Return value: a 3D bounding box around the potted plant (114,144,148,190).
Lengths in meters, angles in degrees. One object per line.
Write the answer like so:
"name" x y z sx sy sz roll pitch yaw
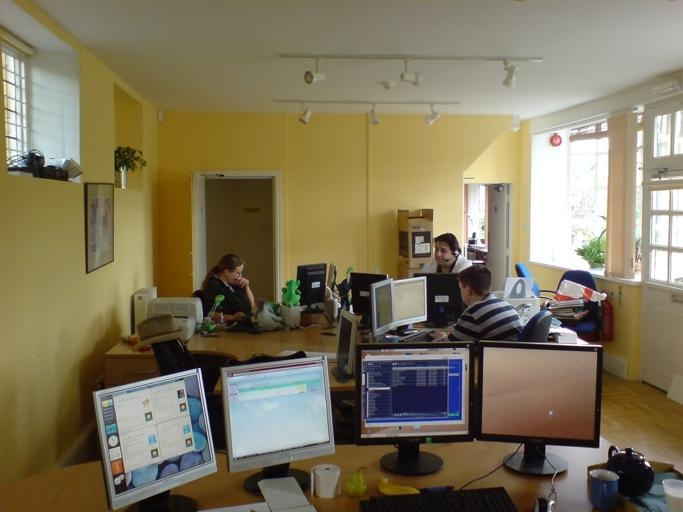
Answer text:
"potted plant" -2.409 -0.970 6.184 0.430 0.476 0.440 1 -7 -26

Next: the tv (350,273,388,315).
"tv" 0.241 0.331 4.842 0.104 0.340 0.320 -5 8 -31

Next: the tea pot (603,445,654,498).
"tea pot" 1.452 1.095 2.860 0.173 0.187 0.241 0 -2 1

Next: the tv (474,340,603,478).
"tv" 1.047 0.784 3.017 0.611 0.683 0.323 1 7 13

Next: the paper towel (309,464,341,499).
"paper towel" -0.068 1.140 2.830 0.138 0.122 0.143 -1 0 -41

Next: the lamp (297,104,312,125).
"lamp" -0.493 -1.868 7.313 0.179 0.152 0.298 16 47 5

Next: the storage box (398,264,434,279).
"storage box" 0.958 0.187 7.663 0.319 0.238 0.312 -2 2 -1

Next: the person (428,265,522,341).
"person" 1.069 0.401 4.369 0.693 0.625 0.685 -6 7 -25

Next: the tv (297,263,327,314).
"tv" -0.289 0.280 5.464 0.282 0.416 0.142 -4 18 -41

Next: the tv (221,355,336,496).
"tv" -0.322 0.871 2.815 0.578 0.723 0.382 -3 3 -20

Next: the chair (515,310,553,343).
"chair" 1.465 0.512 4.110 0.198 0.299 0.248 0 -4 -45

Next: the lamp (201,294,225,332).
"lamp" -1.173 0.549 5.111 0.168 0.366 0.152 6 -7 -12

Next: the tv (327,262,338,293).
"tv" -0.105 0.245 6.178 0.039 0.400 0.288 -1 5 -22

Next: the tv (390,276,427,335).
"tv" 0.567 0.424 4.760 0.046 0.348 0.450 -3 1 43

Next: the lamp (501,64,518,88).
"lamp" 1.581 -1.704 5.245 0.106 0.224 0.554 3 14 15

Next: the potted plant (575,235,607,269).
"potted plant" 3.216 -0.052 7.249 0.379 0.415 0.362 1 3 18

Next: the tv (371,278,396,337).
"tv" 0.330 0.414 4.430 0.038 0.442 0.425 2 4 28

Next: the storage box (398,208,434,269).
"storage box" 1.033 -0.209 7.843 0.456 0.886 0.531 -2 8 -3

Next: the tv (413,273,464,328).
"tv" 0.882 0.391 5.053 0.462 0.503 0.172 -1 14 0
